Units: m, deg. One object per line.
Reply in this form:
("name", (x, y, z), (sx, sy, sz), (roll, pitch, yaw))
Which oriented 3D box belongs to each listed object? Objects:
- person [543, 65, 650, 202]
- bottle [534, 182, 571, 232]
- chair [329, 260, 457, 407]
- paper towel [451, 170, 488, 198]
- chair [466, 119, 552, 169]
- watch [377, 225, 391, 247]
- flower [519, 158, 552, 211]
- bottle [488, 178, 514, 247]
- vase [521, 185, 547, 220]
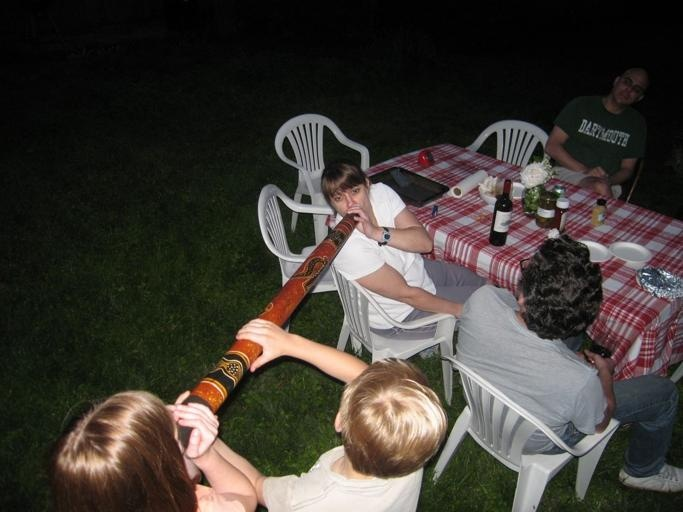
("person", (2.198, -0.982, 4.310), (0.770, 1.437, 0.769), (13, 31, 16))
("bottle", (1.448, -0.338, 3.375), (0.182, 0.319, 0.186), (3, 30, -2))
("chair", (0.311, 0.519, 3.503), (0.830, 1.077, 0.741), (-9, 33, -34))
("paper towel", (1.018, -0.552, 3.789), (0.438, 0.125, 0.118), (-37, 7, -34))
("chair", (1.621, -1.086, 4.688), (0.607, 0.638, 0.657), (-20, 32, -39))
("watch", (0.281, -0.117, 3.152), (0.075, 0.125, 0.105), (-4, 9, -30))
("flower", (1.333, -0.513, 3.419), (0.203, 0.376, 0.212), (2, 28, -4))
("bottle", (1.024, -0.256, 3.206), (0.130, 0.486, 0.121), (4, 14, -1))
("vase", (1.323, -0.362, 3.399), (0.119, 0.215, 0.123), (25, 46, 35))
